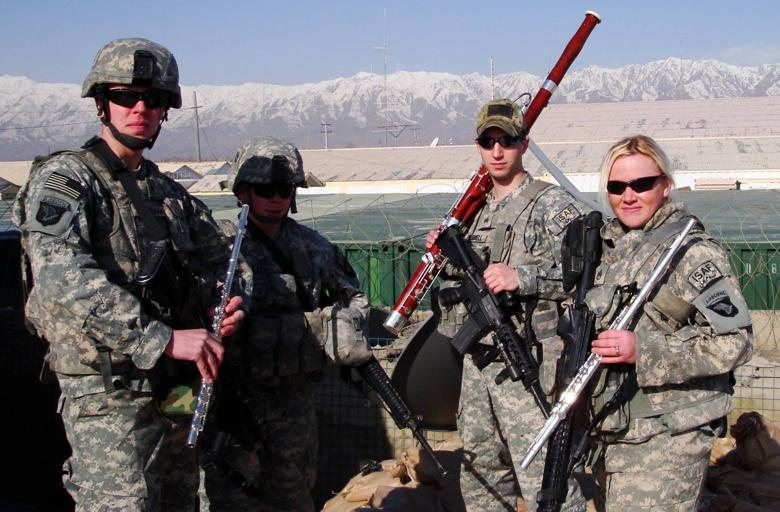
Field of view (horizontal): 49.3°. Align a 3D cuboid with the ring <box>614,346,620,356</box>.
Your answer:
[{"bbox_3d":[1.312,0.546,4.916,0.031,0.043,0.016,3,0,3],"label":"ring"}]

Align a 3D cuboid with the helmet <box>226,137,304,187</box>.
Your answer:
[{"bbox_3d":[-0.881,-0.675,6.135,0.350,0.268,0.461,4,-17,-12],"label":"helmet"}]
